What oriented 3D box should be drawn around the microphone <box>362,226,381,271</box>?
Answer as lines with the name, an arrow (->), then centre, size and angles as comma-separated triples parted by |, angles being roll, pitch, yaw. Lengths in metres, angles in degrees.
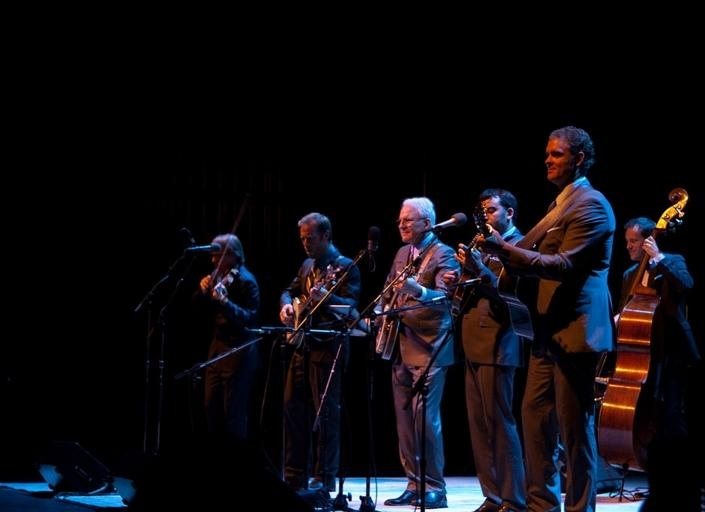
microphone -> 0.168, -0.058, 5.539 | 0.095, 0.353, 0.084 | 6, 0, -23

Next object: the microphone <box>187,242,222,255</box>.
microphone -> -1.419, -0.071, 6.639 | 0.465, 0.133, 0.134 | 0, -3, -24

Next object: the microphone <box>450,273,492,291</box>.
microphone -> 0.891, 0.193, 5.111 | 0.089, 0.066, 0.231 | 16, 22, 37

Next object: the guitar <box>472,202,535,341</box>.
guitar -> 1.094, 0.173, 4.825 | 0.225, 0.563, 1.119 | -6, -47, 22

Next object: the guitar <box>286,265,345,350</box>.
guitar -> -0.324, 0.421, 5.990 | 0.460, 0.752, 0.892 | 2, -19, -6

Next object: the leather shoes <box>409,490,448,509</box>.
leather shoes -> 0.684, 2.000, 5.730 | 0.411, 0.180, 0.193 | 15, -23, -33

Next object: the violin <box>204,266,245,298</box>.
violin -> -1.176, 0.234, 6.405 | 0.304, 0.076, 0.167 | -38, 13, -8

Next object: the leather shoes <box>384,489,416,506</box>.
leather shoes -> 0.382, 2.021, 5.767 | 0.323, 0.139, 0.109 | 3, -10, -11
